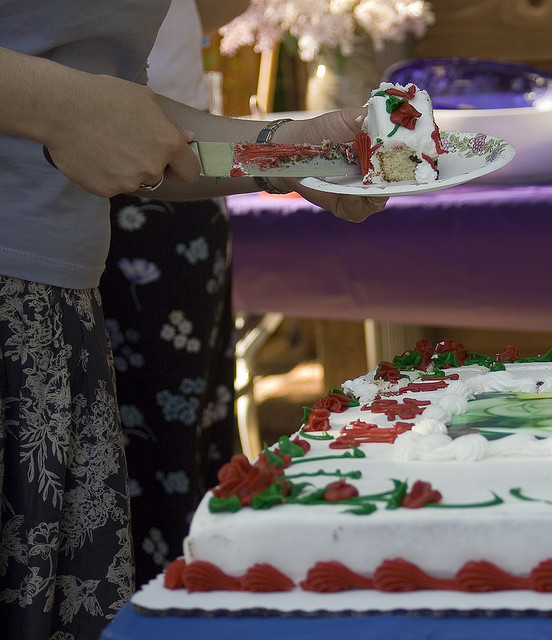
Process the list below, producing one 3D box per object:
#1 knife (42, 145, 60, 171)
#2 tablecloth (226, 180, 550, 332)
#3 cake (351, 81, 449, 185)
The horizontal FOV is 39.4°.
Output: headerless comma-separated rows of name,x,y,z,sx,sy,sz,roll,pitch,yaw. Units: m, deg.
knife,-0.289,-0.208,0.982,0.015,0.014,0.040,-22,-14,-3
tablecloth,0.452,-0.301,2.405,1.441,0.326,0.583,1,19,14
cake,0.200,-0.300,1.232,0.153,0.163,0.162,-1,11,8
